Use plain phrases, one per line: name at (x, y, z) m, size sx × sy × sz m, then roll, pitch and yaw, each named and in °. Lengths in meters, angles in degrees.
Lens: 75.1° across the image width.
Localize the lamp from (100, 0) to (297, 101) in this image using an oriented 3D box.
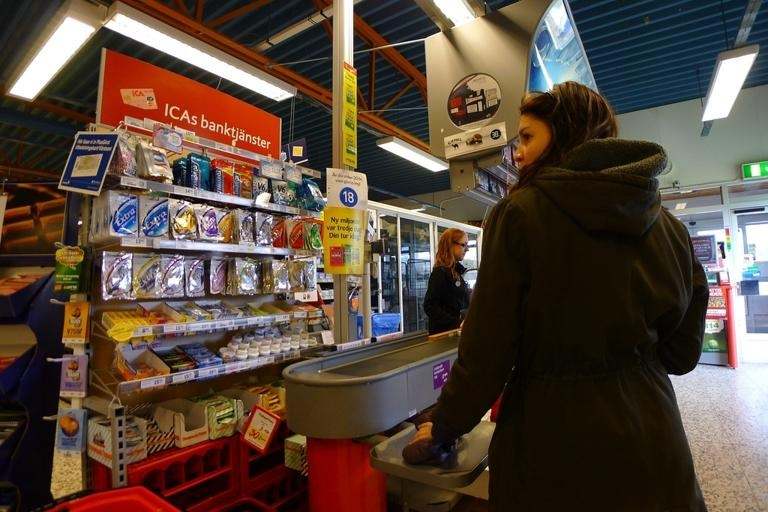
lamp at (-2.151, -2.457, 5.852) m, size 0.348 × 0.154 × 2.030 m, roll 27°, pitch 6°, yaw 31°
